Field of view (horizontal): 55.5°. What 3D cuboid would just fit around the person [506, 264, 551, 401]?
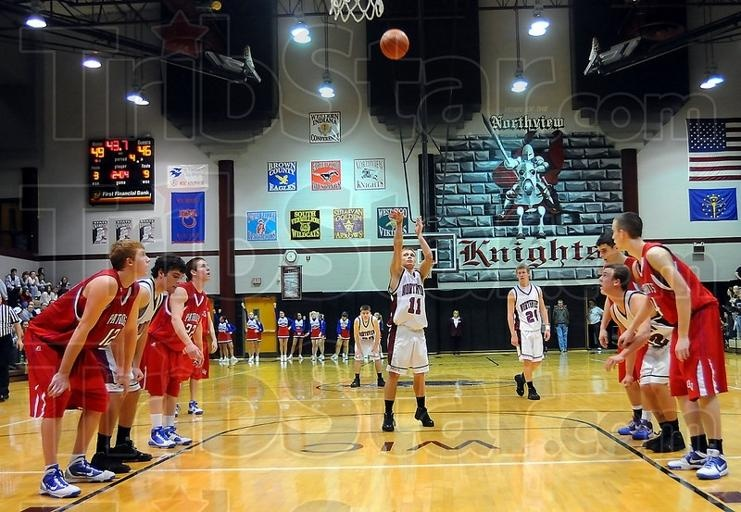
[{"bbox_3d":[2.988,1.470,13.236,0.735,2.645,1.466,1,10,13],"label":"person"}]

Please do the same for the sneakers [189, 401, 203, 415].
[{"bbox_3d":[-3.092,2.758,12.576,0.142,0.201,0.435,3,-14,-21],"label":"sneakers"}]

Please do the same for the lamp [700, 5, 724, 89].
[{"bbox_3d":[10.499,-6.411,21.591,0.610,2.594,3.292,3,11,24],"label":"lamp"}]

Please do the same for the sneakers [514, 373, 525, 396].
[{"bbox_3d":[2.820,2.411,13.128,0.163,0.514,0.226,0,1,2],"label":"sneakers"}]

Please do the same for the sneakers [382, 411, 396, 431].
[{"bbox_3d":[0.297,2.636,11.111,0.198,0.244,0.221,-1,10,0],"label":"sneakers"}]

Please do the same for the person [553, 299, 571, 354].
[{"bbox_3d":[6.034,2.281,22.248,0.462,1.659,0.953,1,10,14],"label":"person"}]

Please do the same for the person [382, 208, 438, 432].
[{"bbox_3d":[0.605,1.056,11.334,0.808,3.597,1.239,0,10,4],"label":"person"}]

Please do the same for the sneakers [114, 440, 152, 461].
[{"bbox_3d":[-3.363,2.857,10.270,0.646,0.306,0.227,4,-5,-7],"label":"sneakers"}]
